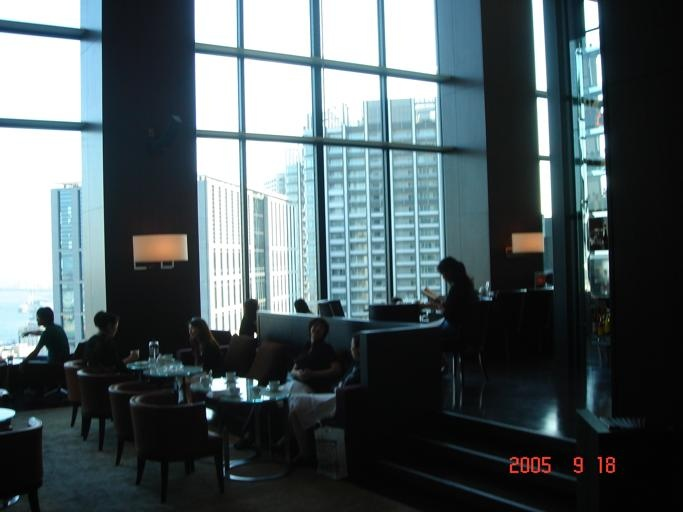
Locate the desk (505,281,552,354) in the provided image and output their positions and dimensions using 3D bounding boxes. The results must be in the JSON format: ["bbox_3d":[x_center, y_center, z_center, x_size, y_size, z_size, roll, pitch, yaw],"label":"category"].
[{"bbox_3d":[2.728,0.990,9.609,0.875,0.906,0.324,-2,1,-19],"label":"desk"}]

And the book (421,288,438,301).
[{"bbox_3d":[1.336,0.557,9.965,0.204,0.084,0.213,35,-6,-8],"label":"book"}]

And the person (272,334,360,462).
[{"bbox_3d":[-0.252,1.556,7.001,0.796,1.784,1.062,1,-4,29],"label":"person"}]

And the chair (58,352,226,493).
[{"bbox_3d":[-1.740,1.695,6.628,0.946,1.307,0.991,-1,0,-41],"label":"chair"}]

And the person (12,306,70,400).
[{"bbox_3d":[-4.059,1.324,8.970,0.638,1.320,0.582,-1,1,26],"label":"person"}]

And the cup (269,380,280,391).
[{"bbox_3d":[-0.713,1.362,6.853,0.075,0.085,0.097,0,-9,-1],"label":"cup"}]

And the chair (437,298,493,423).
[{"bbox_3d":[1.566,1.159,8.215,0.852,1.878,0.955,0,-4,12],"label":"chair"}]
